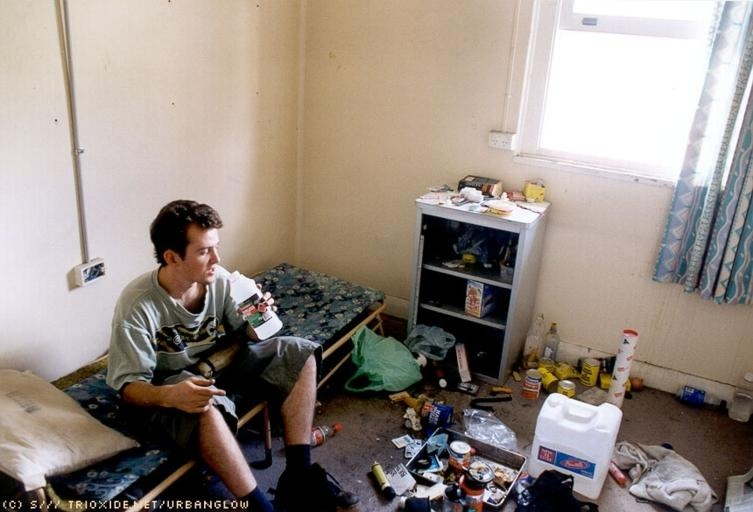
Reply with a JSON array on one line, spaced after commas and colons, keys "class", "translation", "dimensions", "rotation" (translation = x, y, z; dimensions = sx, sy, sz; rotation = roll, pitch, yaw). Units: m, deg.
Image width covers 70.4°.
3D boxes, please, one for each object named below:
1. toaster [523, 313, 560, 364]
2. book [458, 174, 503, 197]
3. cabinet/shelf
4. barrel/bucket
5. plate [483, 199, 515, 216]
[{"class": "toaster", "translation": [1.131, 0.599, 3.656], "dimensions": [0.190, 0.360, 0.115], "rotation": [15, 20, 32]}, {"class": "book", "translation": [0.698, -0.470, 3.460], "dimensions": [0.216, 0.110, 0.161], "rotation": [15, 39, 30]}, {"class": "cabinet/shelf", "translation": [0.598, 0.228, 3.467], "dimensions": [0.764, 1.014, 0.583], "rotation": [9, 15, 13]}, {"class": "barrel/bucket", "translation": [1.016, 0.994, 2.721], "dimensions": [0.404, 0.512, 0.301], "rotation": [12, 15, 27]}, {"class": "plate", "translation": [0.747, -0.303, 3.264], "dimensions": [0.189, 0.044, 0.290], "rotation": [7, 20, 12]}]
